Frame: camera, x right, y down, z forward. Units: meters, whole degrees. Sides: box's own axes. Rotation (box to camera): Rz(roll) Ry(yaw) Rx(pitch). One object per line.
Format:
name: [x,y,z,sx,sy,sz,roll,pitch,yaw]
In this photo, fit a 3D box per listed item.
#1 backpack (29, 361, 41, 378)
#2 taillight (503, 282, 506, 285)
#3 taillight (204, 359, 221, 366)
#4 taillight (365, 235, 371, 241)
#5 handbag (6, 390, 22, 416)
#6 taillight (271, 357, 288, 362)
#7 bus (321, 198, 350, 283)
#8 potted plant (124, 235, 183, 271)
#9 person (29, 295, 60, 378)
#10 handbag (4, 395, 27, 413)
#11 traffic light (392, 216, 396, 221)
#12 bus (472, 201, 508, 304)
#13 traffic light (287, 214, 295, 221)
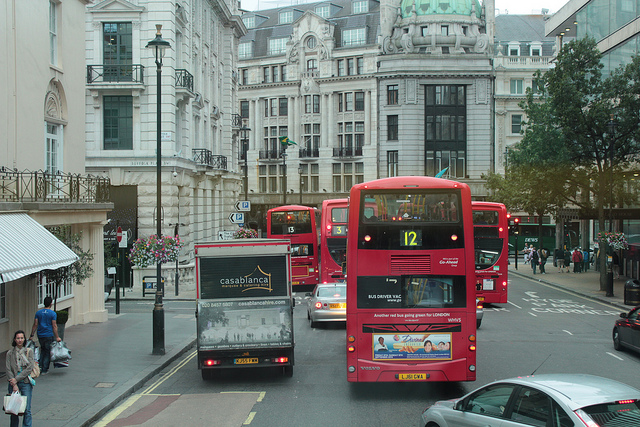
backpack: [-11.020,6.041,41.582,0.430,0.953,0.740,-4,3,-15]
taillight: [9.803,3.761,57.427,0.164,0.183,0.041,3,-1,9]
taillight: [-4.480,6.218,44.740,0.673,0.209,0.049,0,0,-8]
taillight: [1.900,0.984,43.182,0.197,0.216,0.029,0,7,-5]
handbag: [-11.536,7.146,40.570,0.579,0.803,0.215,0,0,-9]
taillight: [-1.704,6.116,44.820,0.677,0.186,0.048,0,0,-5]
bus: [0.727,1.524,58.884,1.471,4.529,1.133,0,0,9]
potted plant: [-9.042,2.150,58.768,2.546,1.739,2.668,0,0,-6]
person: [-11.611,5.188,45.678,1.068,3.143,1.362,0,-1,-5]
handbag: [-11.503,7.207,40.549,0.611,0.629,0.235,2,2,-1]
traffic light: [2.948,0.216,43.182,0.168,0.187,0.042,0,-1,-1]
bus: [9.001,2.100,57.192,1.753,5.335,1.405,0,0,6]
traffic light: [-1.779,0.267,63.888,0.489,0.300,0.368,3,37,2]
